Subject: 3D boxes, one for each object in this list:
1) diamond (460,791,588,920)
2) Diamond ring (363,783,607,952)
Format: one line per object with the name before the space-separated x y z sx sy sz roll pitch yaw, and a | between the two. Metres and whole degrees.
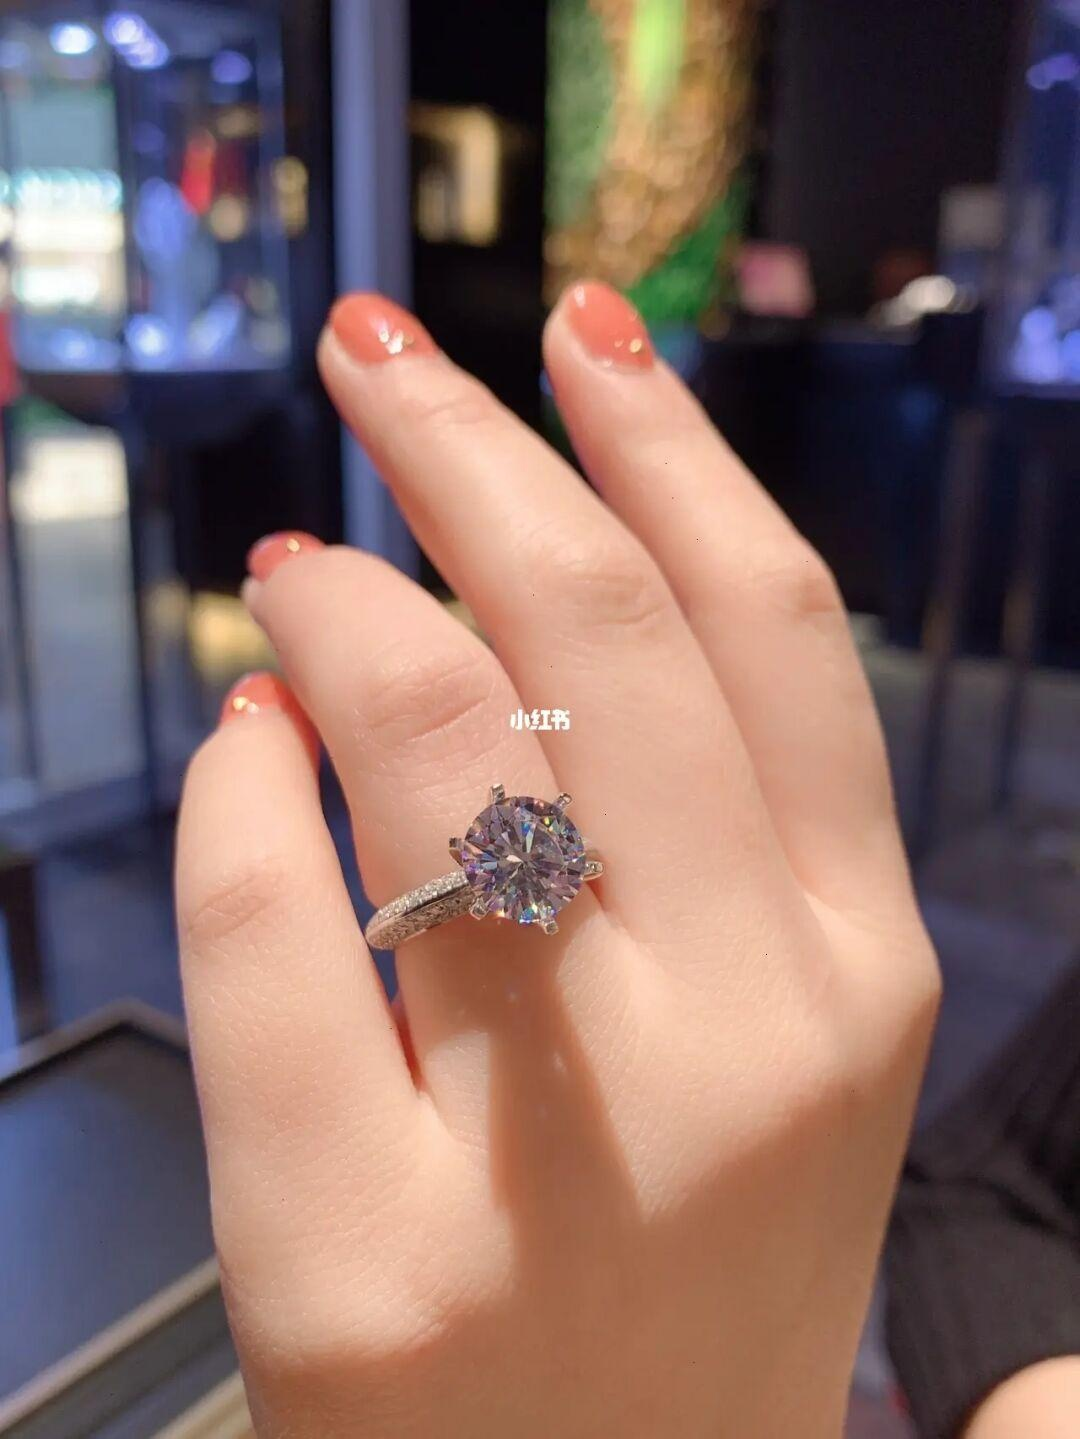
diamond | -0.005 0.060 0.559 0.055 0.046 0.040 -10 28 -23
Diamond ring | -0.016 0.064 0.612 0.109 0.057 0.121 -18 -13 -16
